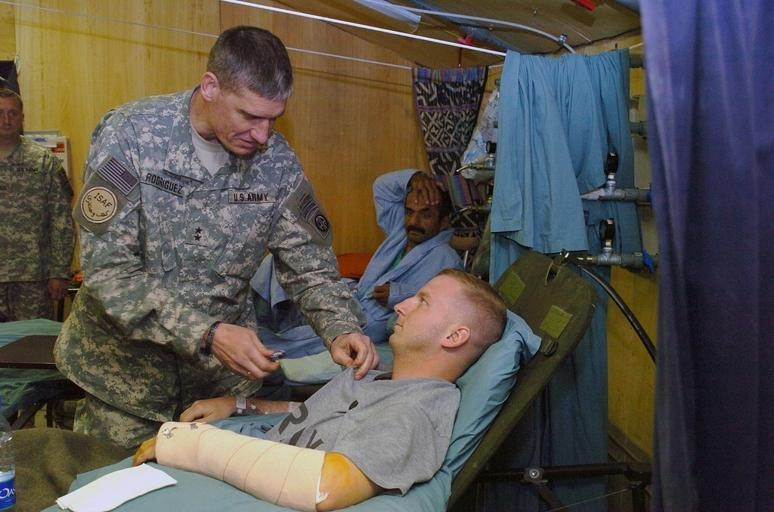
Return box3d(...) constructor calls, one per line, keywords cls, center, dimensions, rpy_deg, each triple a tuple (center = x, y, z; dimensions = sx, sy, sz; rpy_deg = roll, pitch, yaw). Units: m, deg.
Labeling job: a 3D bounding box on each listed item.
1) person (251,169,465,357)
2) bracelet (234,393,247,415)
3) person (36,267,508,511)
box3d(cls="person", center=(-0.183, 0.024, 4.104), dimensions=(1.314, 1.050, 0.827), rpy_deg=(-2, 14, -41))
box3d(cls="bracelet", center=(-0.556, 0.581, 2.791), dimensions=(0.047, 0.028, 0.111), rpy_deg=(16, 28, -19))
box3d(cls="person", center=(-0.137, 0.352, 2.444), dimensions=(1.045, 0.456, 0.760), rpy_deg=(-2, 2, -7))
